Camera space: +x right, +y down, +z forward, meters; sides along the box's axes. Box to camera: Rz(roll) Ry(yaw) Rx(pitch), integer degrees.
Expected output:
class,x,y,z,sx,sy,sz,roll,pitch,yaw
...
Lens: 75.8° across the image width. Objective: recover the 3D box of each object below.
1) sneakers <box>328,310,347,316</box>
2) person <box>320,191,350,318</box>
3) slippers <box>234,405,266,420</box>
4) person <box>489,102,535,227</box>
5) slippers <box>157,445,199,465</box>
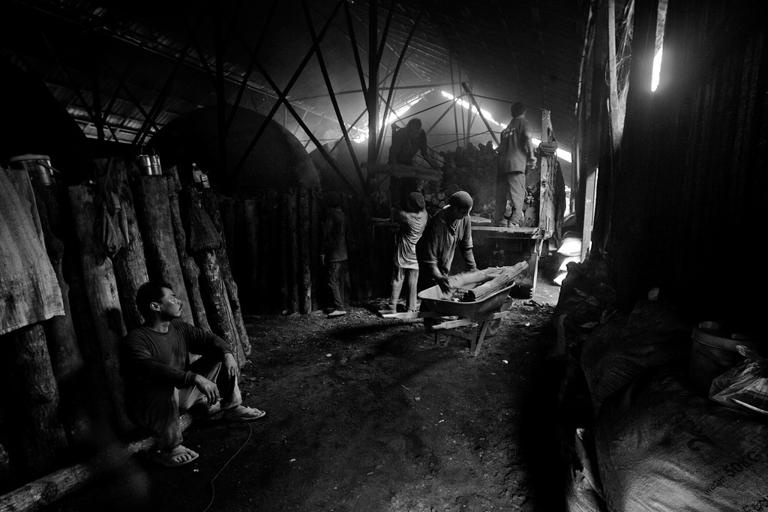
class,x,y,z,sx,sy,sz,roll,pitch,yaw
sneakers,-0.972,1.139,9.878,0.373,0.131,0.226,-2,12,-4
person,-1.019,-0.048,10.033,0.523,2.431,1.030,-3,12,-6
slippers,-1.761,2.062,6.441,0.292,0.117,0.197,2,2,-3
person,2.790,-1.958,10.677,0.764,2.661,0.986,2,13,16
slippers,-2.456,2.363,5.858,0.425,0.212,0.214,0,-2,8
